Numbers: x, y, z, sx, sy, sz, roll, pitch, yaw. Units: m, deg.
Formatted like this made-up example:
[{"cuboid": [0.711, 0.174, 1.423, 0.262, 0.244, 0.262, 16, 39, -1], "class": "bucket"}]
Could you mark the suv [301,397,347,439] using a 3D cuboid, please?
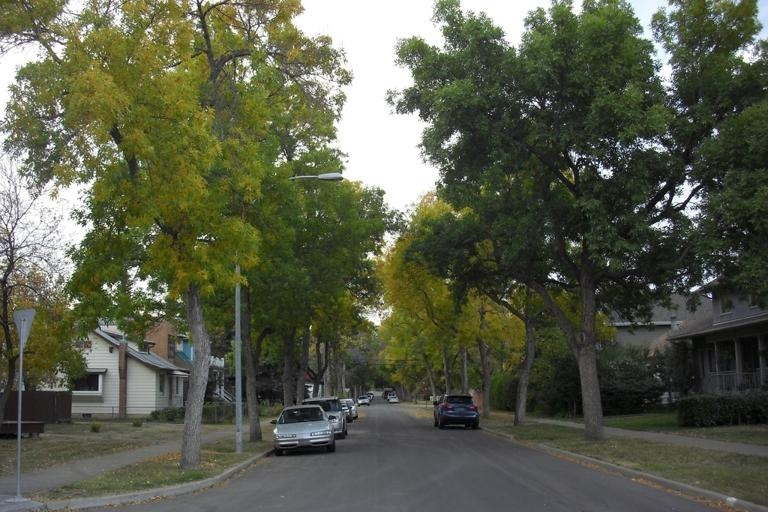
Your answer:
[{"cuboid": [-2.651, 8.045, 38.690, 1.514, 1.418, 2.826, -1, -19, 1], "class": "suv"}]

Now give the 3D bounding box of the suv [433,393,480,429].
[{"cuboid": [4.194, 8.691, 42.824, 2.133, 1.953, 1.769, -6, -17, 14], "class": "suv"}]
